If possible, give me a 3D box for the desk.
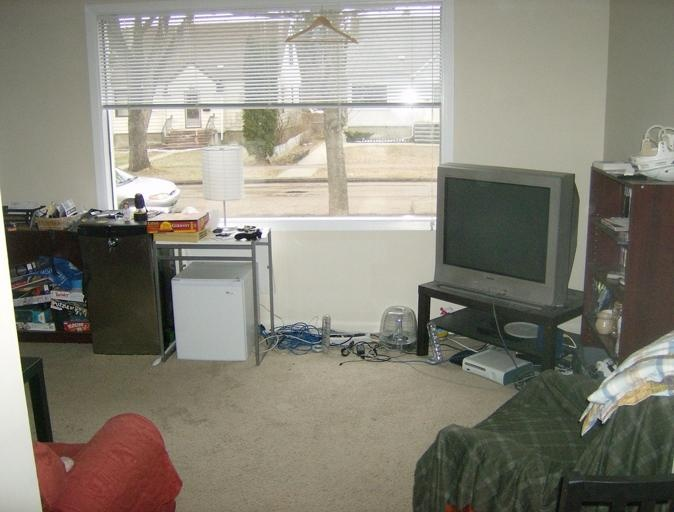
[{"bbox_3d":[-0.772,0.208,4.427,0.526,0.685,0.625,-12,5,3],"label":"desk"}]

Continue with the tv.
[{"bbox_3d":[0.977,-0.112,4.109,0.883,0.807,0.524,7,-9,-10],"label":"tv"}]

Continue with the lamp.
[{"bbox_3d":[-0.809,-0.556,4.218,0.275,0.436,0.155,-2,7,-12],"label":"lamp"}]

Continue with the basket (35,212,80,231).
[{"bbox_3d":[-2.076,-0.247,4.444,0.299,0.109,0.134,-4,7,-25],"label":"basket"}]
